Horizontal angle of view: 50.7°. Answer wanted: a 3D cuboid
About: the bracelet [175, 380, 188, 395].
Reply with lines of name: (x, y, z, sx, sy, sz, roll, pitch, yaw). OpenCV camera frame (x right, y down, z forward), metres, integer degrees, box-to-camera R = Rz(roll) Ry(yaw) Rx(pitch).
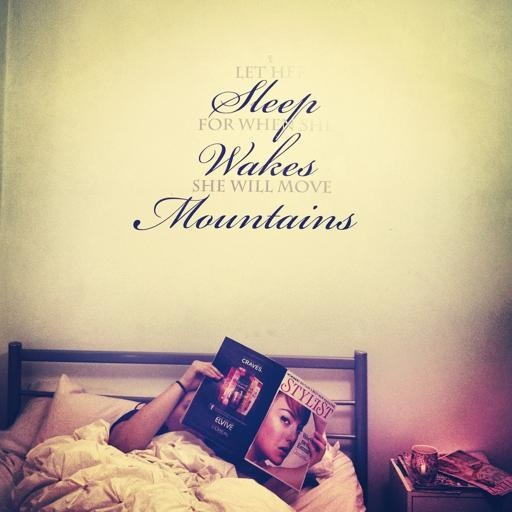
bracelet: (-0.275, 0.487, 1.999, 0.036, 0.047, 0.018, -9, 10, 43)

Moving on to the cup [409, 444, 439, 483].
cup: (0.579, 0.728, 1.914, 0.082, 0.103, 0.125, 0, -5, 3)
